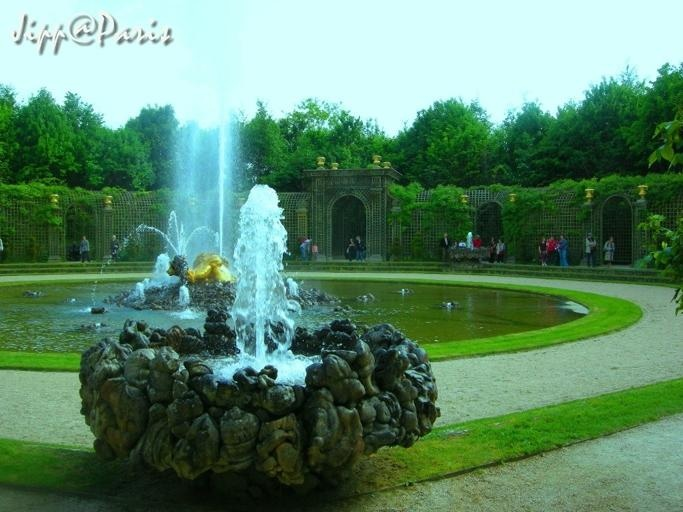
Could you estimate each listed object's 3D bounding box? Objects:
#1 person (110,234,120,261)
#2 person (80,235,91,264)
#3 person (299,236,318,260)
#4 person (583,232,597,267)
[{"bbox_3d":[-11.256,-0.393,32.982,0.385,1.195,1.315,-3,6,-18],"label":"person"},{"bbox_3d":[-12.755,-0.358,33.027,0.391,1.179,1.164,-4,7,-25],"label":"person"},{"bbox_3d":[-1.734,-0.447,34.919,0.926,1.168,1.728,-1,6,-3],"label":"person"},{"bbox_3d":[10.962,-0.342,29.303,0.390,1.407,2.110,2,6,24],"label":"person"}]
